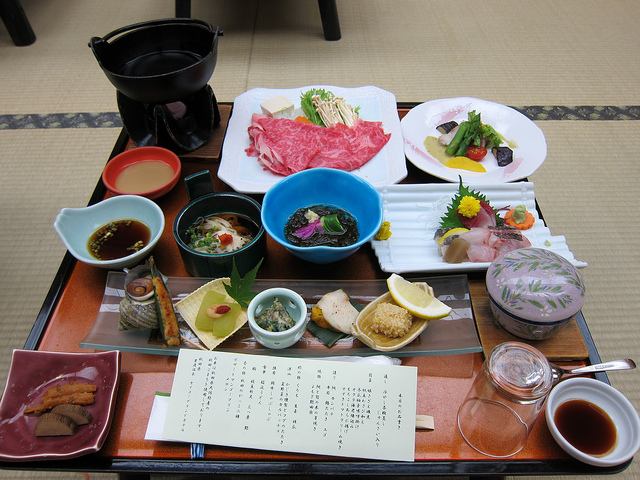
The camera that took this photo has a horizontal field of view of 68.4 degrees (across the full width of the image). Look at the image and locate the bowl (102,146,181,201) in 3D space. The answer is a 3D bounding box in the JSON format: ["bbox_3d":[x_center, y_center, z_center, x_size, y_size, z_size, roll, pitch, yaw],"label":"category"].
[{"bbox_3d":[-0.793,-0.300,2.116,0.271,0.109,0.290,0,55,0],"label":"bowl"}]

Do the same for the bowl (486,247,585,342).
[{"bbox_3d":[0.765,0.221,1.808,0.315,0.249,0.335,-3,61,6],"label":"bowl"}]

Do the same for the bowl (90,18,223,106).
[{"bbox_3d":[-0.747,-0.837,2.116,0.518,0.239,0.529,1,50,-1],"label":"bowl"}]

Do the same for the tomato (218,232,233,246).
[{"bbox_3d":[-0.371,-0.003,1.851,0.038,0.016,0.047,1,73,-4],"label":"tomato"}]

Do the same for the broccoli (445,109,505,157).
[{"bbox_3d":[0.797,-0.603,2.504,0.264,0.115,0.337,-5,48,6],"label":"broccoli"}]

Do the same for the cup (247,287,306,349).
[{"bbox_3d":[-0.150,0.273,1.715,0.192,0.129,0.221,0,66,-1],"label":"cup"}]

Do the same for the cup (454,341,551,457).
[{"bbox_3d":[0.602,0.542,1.554,0.148,0.253,0.265,29,53,18],"label":"cup"}]

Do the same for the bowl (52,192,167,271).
[{"bbox_3d":[-0.845,-0.020,1.898,0.413,0.178,0.359,0,45,-5],"label":"bowl"}]

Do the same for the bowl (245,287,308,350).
[{"bbox_3d":[-0.178,0.291,1.666,0.154,0.096,0.167,12,28,-7],"label":"bowl"}]
